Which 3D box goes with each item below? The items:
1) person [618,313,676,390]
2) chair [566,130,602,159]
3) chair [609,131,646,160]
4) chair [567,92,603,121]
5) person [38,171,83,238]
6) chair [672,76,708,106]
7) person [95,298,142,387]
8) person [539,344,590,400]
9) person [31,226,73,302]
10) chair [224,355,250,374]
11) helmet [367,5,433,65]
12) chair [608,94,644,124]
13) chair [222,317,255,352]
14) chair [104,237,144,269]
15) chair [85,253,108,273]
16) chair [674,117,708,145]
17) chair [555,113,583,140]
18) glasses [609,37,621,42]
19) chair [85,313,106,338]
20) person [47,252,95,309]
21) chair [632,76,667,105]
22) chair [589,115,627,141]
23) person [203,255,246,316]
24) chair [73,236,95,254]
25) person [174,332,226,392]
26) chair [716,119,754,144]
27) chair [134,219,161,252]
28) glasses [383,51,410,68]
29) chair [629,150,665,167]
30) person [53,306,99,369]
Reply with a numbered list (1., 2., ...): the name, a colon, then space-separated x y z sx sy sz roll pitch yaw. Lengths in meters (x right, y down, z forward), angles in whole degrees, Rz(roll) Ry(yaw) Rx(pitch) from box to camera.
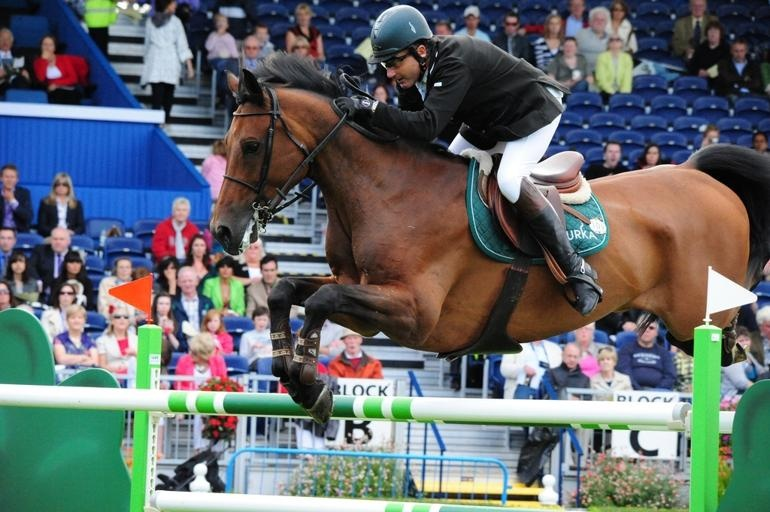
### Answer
1. person: 3.280 1.231 20.447 0.692 1.070 0.655 2 1 -31
2. chair: 2.889 -1.623 23.907 0.609 0.620 0.259 0 -42 5
3. chair: 3.727 -1.772 25.156 0.506 0.494 0.549 0 32 3
4. chair: 3.154 -2.408 26.069 0.558 0.492 0.442 0 -1 0
5. person: -4.364 -0.688 22.249 0.645 0.876 0.560 2 -1 -12
6. chair: 4.991 -2.686 26.891 0.487 0.568 0.491 0 -1 4
7. person: -3.161 1.210 19.815 0.601 1.210 0.685 -2 3 -14
8. person: 2.151 1.406 20.002 0.469 0.716 0.407 11 -17 7
9. person: -4.266 0.054 21.027 0.460 0.950 0.528 1 -19 13
10. chair: -1.798 1.283 19.946 0.219 0.212 0.246 3 0 6
11. helmet: 0.153 -2.239 16.599 0.672 0.351 0.478 -27 18 -25
12. chair: 3.857 -2.394 26.227 0.486 0.369 0.468 2 37 3
13. chair: -1.869 0.968 20.846 0.413 0.444 0.393 1 -9 -10
14. chair: -3.497 -0.052 22.222 0.421 0.492 0.456 0 9 -6
15. chair: -3.810 0.084 21.686 0.252 0.212 0.185 -4 8 -28
16. chair: 4.793 -2.004 25.883 0.454 0.524 0.483 0 -5 0
17. chair: 2.849 -2.041 25.684 0.441 0.494 0.459 1 -2 1
18. glasses: 3.614 -3.416 25.813 0.205 0.075 0.067 1 4 -14
19. chair: -3.579 0.836 20.368 0.277 0.298 0.287 3 3 -9
20. person: -3.866 0.310 20.579 0.464 0.729 0.244 2 -6 -8
21. chair: 4.307 -2.776 26.819 0.517 0.440 0.479 5 23 7
22. chair: 3.469 -2.075 25.770 0.442 0.442 0.192 1 -21 3
23. person: -2.027 0.402 20.883 0.565 0.823 0.624 6 5 31
24. chair: -4.033 -0.177 22.012 0.261 0.126 0.244 6 -7 -8
25. person: -2.176 1.399 19.641 0.660 0.910 0.530 0 0 -7
26. chair: 5.504 -2.010 25.894 0.491 0.520 0.491 0 -14 4
27. chair: -3.338 -0.328 22.956 0.419 0.496 0.469 0 -3 -9
28. glasses: 0.111 -1.972 16.526 0.183 0.050 0.172 -35 10 -25
29. chair: 3.837 -1.394 24.309 0.405 0.375 0.363 0 -6 -3
30. person: -3.719 0.969 19.804 0.604 0.799 0.451 2 5 -18
